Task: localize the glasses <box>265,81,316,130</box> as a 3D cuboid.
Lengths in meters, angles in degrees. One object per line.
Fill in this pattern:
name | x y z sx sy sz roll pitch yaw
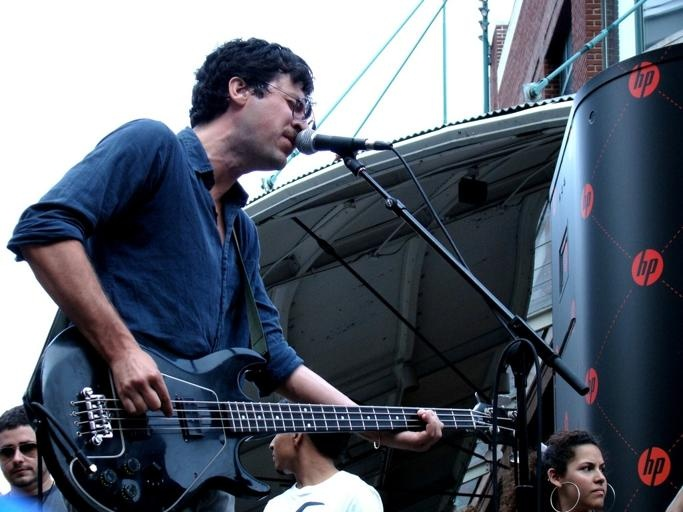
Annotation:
glasses | -0.247 -0.664 4.377 0.238 0.072 0.239 35 5 -24
